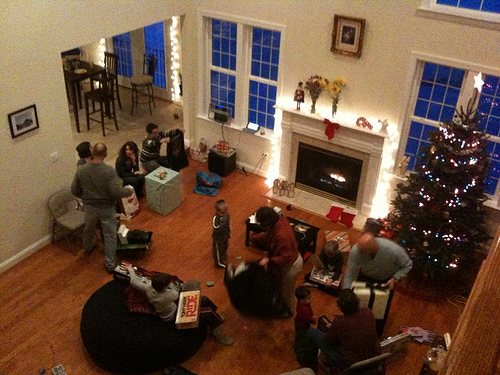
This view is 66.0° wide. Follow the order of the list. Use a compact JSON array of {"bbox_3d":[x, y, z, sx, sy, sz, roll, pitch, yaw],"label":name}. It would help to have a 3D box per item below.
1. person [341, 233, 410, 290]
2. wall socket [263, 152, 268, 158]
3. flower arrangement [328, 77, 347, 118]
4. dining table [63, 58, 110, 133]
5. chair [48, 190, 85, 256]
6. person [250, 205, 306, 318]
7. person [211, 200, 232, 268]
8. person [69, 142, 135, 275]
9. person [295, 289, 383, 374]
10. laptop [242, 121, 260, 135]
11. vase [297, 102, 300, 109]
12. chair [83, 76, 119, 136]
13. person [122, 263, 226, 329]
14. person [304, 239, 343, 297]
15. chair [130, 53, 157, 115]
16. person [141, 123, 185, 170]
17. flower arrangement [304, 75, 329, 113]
[{"bbox_3d":[1.769,1.046,5.323,0.494,0.586,0.982,32,-2,29],"label":"person"},{"bbox_3d":[0.339,-0.743,8.727,0.117,0.150,0.013,18,27,28],"label":"wall socket"},{"bbox_3d":[1.639,-1.740,7.445,0.321,0.760,0.249,14,26,20],"label":"flower arrangement"},{"bbox_3d":[-4.203,-2.441,9.944,1.165,1.060,0.952,-26,35,-28],"label":"dining table"},{"bbox_3d":[-3.141,0.609,6.839,0.667,0.995,0.661,28,35,37],"label":"chair"},{"bbox_3d":[0.395,1.129,5.569,0.784,1.754,0.793,3,35,12],"label":"person"},{"bbox_3d":[-0.473,0.754,6.398,0.325,1.353,0.562,3,24,-3],"label":"person"},{"bbox_3d":[-2.563,0.249,6.444,1.327,2.178,0.761,20,28,30],"label":"person"},{"bbox_3d":[1.115,1.840,4.830,0.644,0.998,0.791,-20,44,-12],"label":"person"},{"bbox_3d":[0.034,-1.338,8.657,0.274,0.175,0.251,18,32,14],"label":"laptop"},{"bbox_3d":[0.980,-1.668,7.794,0.058,0.142,0.074,5,24,0],"label":"vase"},{"bbox_3d":[-3.919,-2.101,10.125,0.784,1.812,0.758,35,47,12],"label":"chair"},{"bbox_3d":[-1.090,1.568,5.451,1.376,0.528,0.489,30,-31,-34],"label":"person"},{"bbox_3d":[1.162,1.238,6.062,0.541,0.768,0.643,0,34,4],"label":"person"},{"bbox_3d":[-3.061,-3.035,11.093,0.743,1.580,1.458,-2,25,-14],"label":"chair"},{"bbox_3d":[-1.927,-0.874,8.508,0.702,1.116,0.580,10,48,3],"label":"person"},{"bbox_3d":[1.268,-1.822,7.617,0.381,0.528,0.415,6,0,-26],"label":"flower arrangement"}]
